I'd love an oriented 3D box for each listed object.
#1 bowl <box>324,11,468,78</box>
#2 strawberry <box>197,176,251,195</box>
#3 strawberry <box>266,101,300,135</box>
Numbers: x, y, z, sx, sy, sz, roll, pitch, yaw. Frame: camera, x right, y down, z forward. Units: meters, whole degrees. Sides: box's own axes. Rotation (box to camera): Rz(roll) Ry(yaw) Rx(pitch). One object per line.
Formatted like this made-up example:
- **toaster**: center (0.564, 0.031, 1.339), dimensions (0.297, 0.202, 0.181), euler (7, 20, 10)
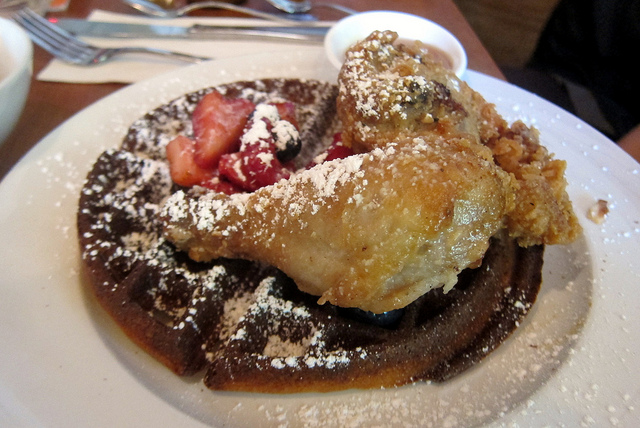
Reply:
- **bowl**: center (0.255, -0.620, 2.421), dimensions (0.482, 0.120, 0.486), euler (-3, 51, 3)
- **strawberry**: center (-0.331, -0.098, 2.074), dimensions (0.105, 0.030, 0.080), euler (20, 23, -28)
- **strawberry**: center (-0.136, -0.333, 2.151), dimensions (0.141, 0.146, 0.042), euler (0, -2, -15)
